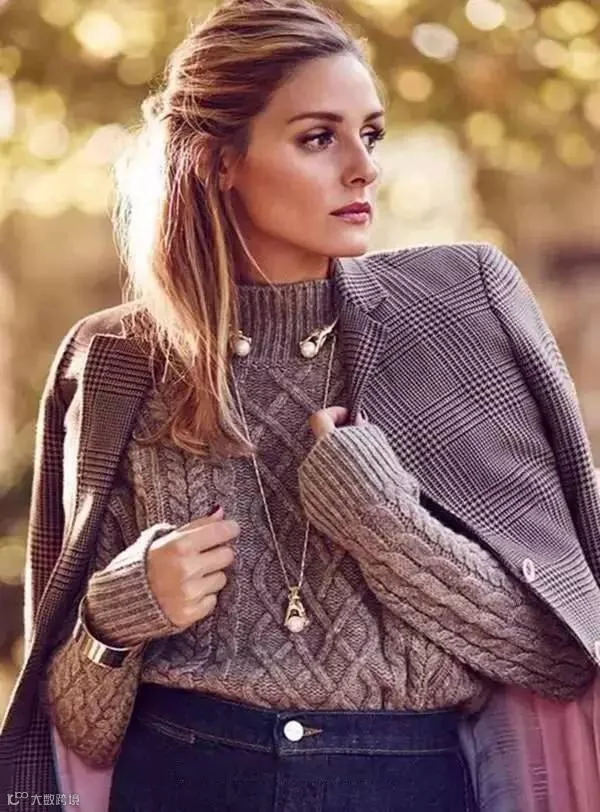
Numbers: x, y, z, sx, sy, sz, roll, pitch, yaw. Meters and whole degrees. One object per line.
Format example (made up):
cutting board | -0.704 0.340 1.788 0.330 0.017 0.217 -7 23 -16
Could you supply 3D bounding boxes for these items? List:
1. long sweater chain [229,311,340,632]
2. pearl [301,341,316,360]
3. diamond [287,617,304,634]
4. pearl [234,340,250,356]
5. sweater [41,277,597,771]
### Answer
long sweater chain | -0.052 0.121 1.761 0.244 0.580 0.046 -3 -18 3
pearl | 0.020 -0.117 1.915 0.033 0.033 0.029 -12 -5 1
diamond | -0.010 0.424 1.745 0.038 0.042 0.020 4 30 -2
pearl | -0.124 -0.127 1.959 0.035 0.033 0.021 0 -1 3
sweater | 0.091 0.167 1.997 1.409 1.020 0.764 -5 -3 23
